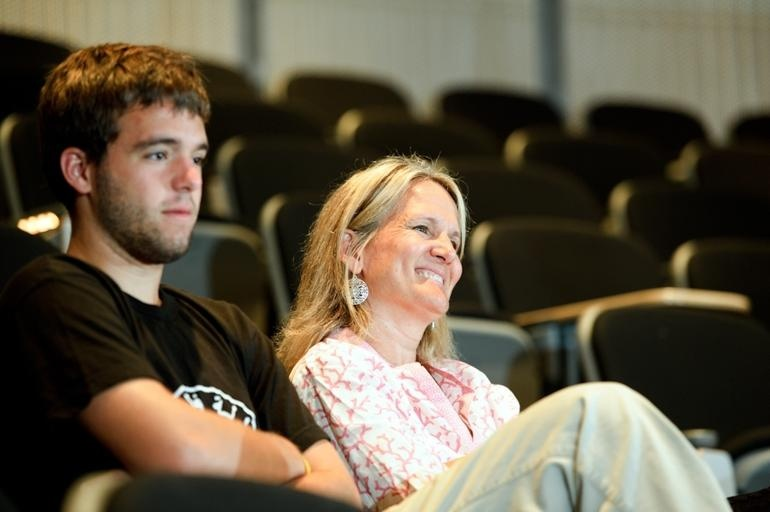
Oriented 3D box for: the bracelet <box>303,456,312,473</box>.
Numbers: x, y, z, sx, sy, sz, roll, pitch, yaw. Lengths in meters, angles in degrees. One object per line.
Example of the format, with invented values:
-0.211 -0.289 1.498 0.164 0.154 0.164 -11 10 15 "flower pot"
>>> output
-0.173 0.473 1.867 0.007 0.032 0.030 -10 42 8 "bracelet"
